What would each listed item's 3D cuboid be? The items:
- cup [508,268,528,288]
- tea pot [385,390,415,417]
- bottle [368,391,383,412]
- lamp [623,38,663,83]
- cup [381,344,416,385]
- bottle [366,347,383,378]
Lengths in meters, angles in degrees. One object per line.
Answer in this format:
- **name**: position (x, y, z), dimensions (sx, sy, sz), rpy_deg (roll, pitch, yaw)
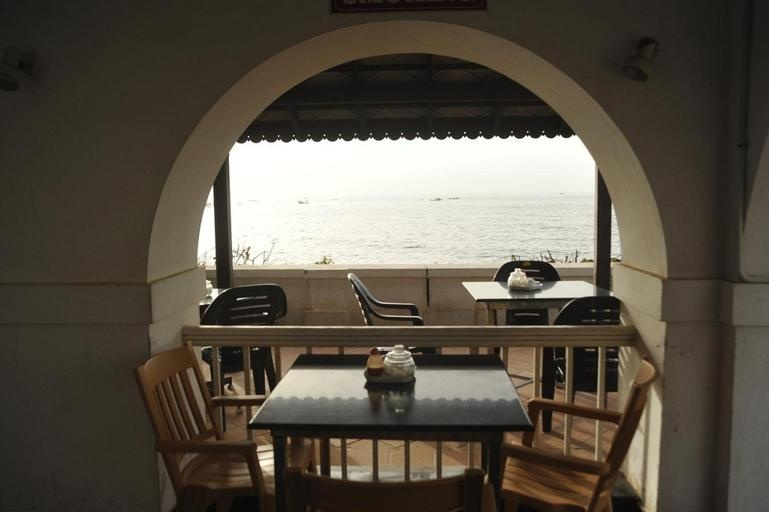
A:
- **cup**: position (1.195, 0.201, 6.209), dimensions (0.144, 0.140, 0.153), rpy_deg (-1, 11, 0)
- **tea pot**: position (0.084, 0.788, 3.775), dimensions (0.147, 0.072, 0.236), rpy_deg (-2, 3, 0)
- **bottle**: position (-0.044, 0.783, 3.807), dimensions (0.062, 0.090, 0.068), rpy_deg (-1, 7, 0)
- **lamp**: position (1.498, -1.133, 4.041), dimensions (0.148, 0.268, 0.115), rpy_deg (29, -18, 3)
- **cup**: position (0.073, 0.615, 4.064), dimensions (0.197, 0.198, 0.214), rpy_deg (3, 0, 0)
- **bottle**: position (-0.050, 0.605, 4.045), dimensions (0.082, 0.169, 0.053), rpy_deg (0, -24, 1)
